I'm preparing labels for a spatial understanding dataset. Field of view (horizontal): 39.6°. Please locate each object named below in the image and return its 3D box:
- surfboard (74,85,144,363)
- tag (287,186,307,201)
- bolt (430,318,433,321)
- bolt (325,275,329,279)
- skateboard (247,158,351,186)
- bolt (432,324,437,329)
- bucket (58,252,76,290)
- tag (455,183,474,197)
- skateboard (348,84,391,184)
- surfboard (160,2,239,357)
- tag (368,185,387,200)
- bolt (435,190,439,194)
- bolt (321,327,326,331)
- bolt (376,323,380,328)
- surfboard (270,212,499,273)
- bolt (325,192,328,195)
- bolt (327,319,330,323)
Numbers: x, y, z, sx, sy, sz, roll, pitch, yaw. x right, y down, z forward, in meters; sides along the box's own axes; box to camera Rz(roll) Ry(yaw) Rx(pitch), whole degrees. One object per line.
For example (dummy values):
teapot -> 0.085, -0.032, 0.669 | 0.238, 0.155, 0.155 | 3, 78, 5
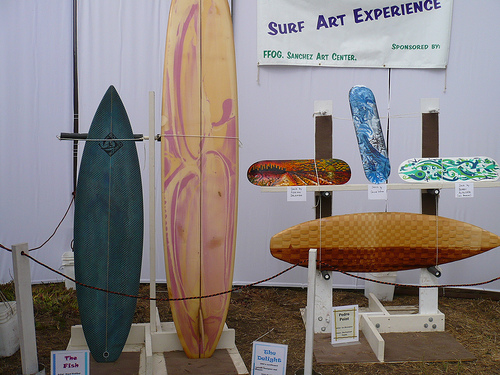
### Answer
surfboard -> -1.213, 0.441, 5.920 | 0.480, 2.569, 0.445 | -5, 11, -40
tag -> 0.407, 0.044, 6.060 | 0.171, 0.115, 0.088 | 0, 7, 5
bolt -> 1.628, 1.176, 6.240 | 0.017, 0.024, 0.005 | -2, -3, 14
bolt -> 0.683, 0.785, 6.180 | 0.028, 0.031, 0.008 | 4, -3, 5
skateboard -> 0.435, -0.138, 6.163 | 0.917, 0.218, 0.155 | -2, 7, -7
bolt -> 1.656, 1.235, 6.245 | 0.034, 0.038, 0.012 | 7, -5, 2
bucket -> -1.866, 0.846, 7.031 | 0.140, 0.382, 0.459 | -3, 8, -18
tag -> 1.894, 0.013, 6.125 | 0.107, 0.102, 0.012 | 1, 2, -1
skateboard -> 1.073, -0.493, 6.283 | 0.258, 1.067, 0.107 | -7, -8, -11
surfboard -> -0.441, -0.063, 5.964 | 0.448, 3.674, 0.506 | -2, 6, -17
tag -> 1.122, 0.031, 6.120 | 0.107, 0.102, 0.017 | 0, 4, -6
bolt -> 1.674, 0.033, 6.213 | 0.027, 0.029, 0.007 | 5, -1, 12
bolt -> 0.656, 1.259, 6.230 | 0.033, 0.037, 0.008 | 14, -1, 5
bolt -> 1.144, 1.226, 6.218 | 0.033, 0.037, 0.011 | 0, 2, -16
surfboard -> 1.295, 0.490, 6.299 | 1.507, 0.421, 0.456 | -1, 24, -1
bolt -> 0.682, 0.052, 6.207 | 0.023, 0.026, 0.006 | 3, -1, -9
bolt -> 0.704, 1.191, 6.234 | 0.023, 0.032, 0.002 | -2, 7, -13
